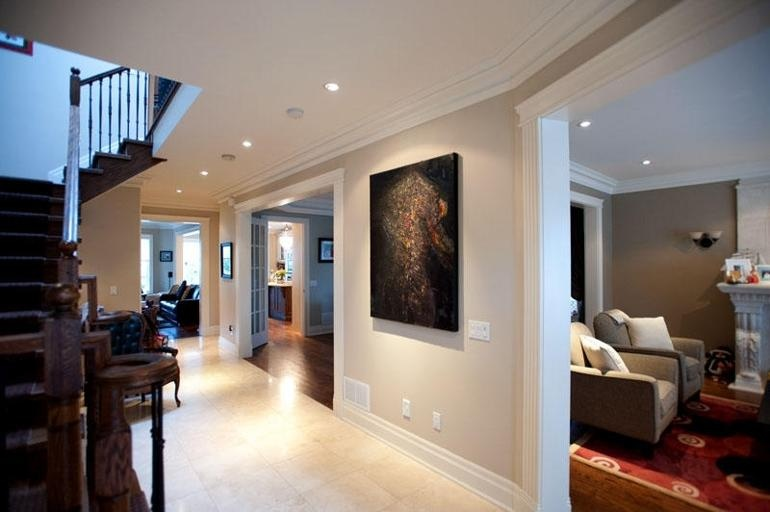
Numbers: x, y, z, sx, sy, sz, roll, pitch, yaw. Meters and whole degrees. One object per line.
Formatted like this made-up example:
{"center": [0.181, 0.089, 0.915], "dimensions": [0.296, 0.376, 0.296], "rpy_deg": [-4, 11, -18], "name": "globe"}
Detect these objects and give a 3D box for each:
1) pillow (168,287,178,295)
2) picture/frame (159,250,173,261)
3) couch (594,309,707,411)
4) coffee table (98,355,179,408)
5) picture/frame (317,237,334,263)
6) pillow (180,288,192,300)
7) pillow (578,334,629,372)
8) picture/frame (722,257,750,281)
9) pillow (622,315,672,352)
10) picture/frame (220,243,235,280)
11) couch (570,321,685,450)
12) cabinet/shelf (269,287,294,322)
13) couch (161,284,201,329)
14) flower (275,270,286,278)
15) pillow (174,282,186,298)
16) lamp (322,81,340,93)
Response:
{"center": [-5.434, 0.884, 12.642], "dimensions": [0.182, 0.269, 0.219], "rpy_deg": [-3, 9, -8], "name": "pillow"}
{"center": [-6.361, 0.017, 14.378], "dimensions": [0.260, 0.349, 0.350], "rpy_deg": [-2, -4, 20], "name": "picture/frame"}
{"center": [3.156, 1.189, 6.087], "dimensions": [1.096, 1.239, 1.202], "rpy_deg": [2, -10, -24], "name": "couch"}
{"center": [-1.726, 0.904, 3.532], "dimensions": [0.496, 0.395, 0.427], "rpy_deg": [-5, 2, -37], "name": "coffee table"}
{"center": [-1.189, -0.119, 9.764], "dimensions": [0.035, 0.504, 0.496], "rpy_deg": [-1, -2, 32], "name": "picture/frame"}
{"center": [-4.524, 0.893, 11.272], "dimensions": [0.171, 0.306, 0.071], "rpy_deg": [34, -16, -13], "name": "pillow"}
{"center": [2.368, 1.084, 5.345], "dimensions": [0.316, 0.407, 0.557], "rpy_deg": [-16, 8, -8], "name": "pillow"}
{"center": [4.621, 0.184, 6.449], "dimensions": [0.293, 0.280, 0.288], "rpy_deg": [9, 17, 34], "name": "picture/frame"}
{"center": [3.252, 0.992, 6.043], "dimensions": [0.521, 0.464, 0.273], "rpy_deg": [-2, -7, -4], "name": "pillow"}
{"center": [-2.723, 0.097, 8.570], "dimensions": [0.050, 0.761, 0.639], "rpy_deg": [0, -1, -37], "name": "picture/frame"}
{"center": [2.550, 1.240, 5.468], "dimensions": [1.204, 1.333, 1.200], "rpy_deg": [-5, -6, 42], "name": "couch"}
{"center": [-2.444, 1.100, 11.830], "dimensions": [0.552, 0.775, 0.809], "rpy_deg": [-3, 5, -36], "name": "cabinet/shelf"}
{"center": [-4.722, 1.041, 11.277], "dimensions": [1.030, 0.673, 0.524], "rpy_deg": [8, 22, 45], "name": "couch"}
{"center": [-2.561, 0.463, 12.138], "dimensions": [0.192, 0.199, 0.196], "rpy_deg": [0, 1, 3], "name": "flower"}
{"center": [-4.919, 0.847, 11.882], "dimensions": [0.090, 0.358, 0.209], "rpy_deg": [28, -19, -30], "name": "pillow"}
{"center": [-0.506, -1.611, 4.725], "dimensions": [0.158, 0.093, 0.157], "rpy_deg": [-2, 15, -5], "name": "lamp"}
